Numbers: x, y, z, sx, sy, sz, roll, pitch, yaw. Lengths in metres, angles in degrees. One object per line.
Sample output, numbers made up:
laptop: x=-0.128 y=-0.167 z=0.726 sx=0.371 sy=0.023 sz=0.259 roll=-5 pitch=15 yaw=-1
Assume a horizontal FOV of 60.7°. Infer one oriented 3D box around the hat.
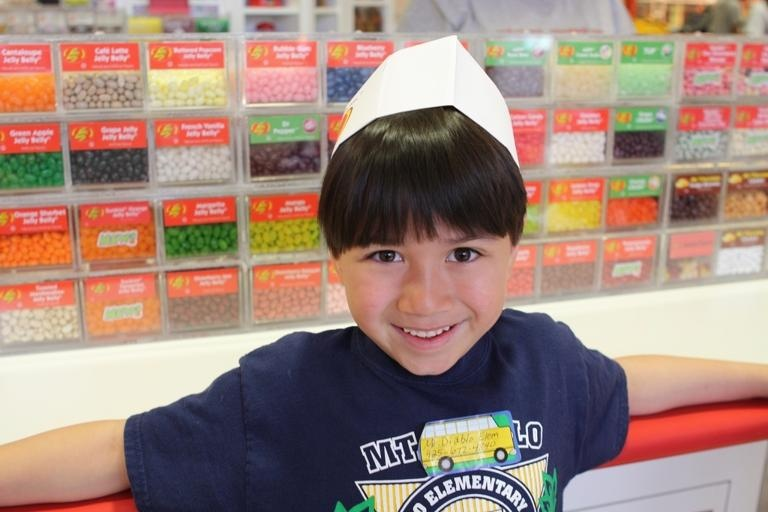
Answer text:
hat: x=0.099 y=-0.372 z=1.443 sx=0.307 sy=0.183 sz=0.345 roll=7 pitch=43 yaw=5
